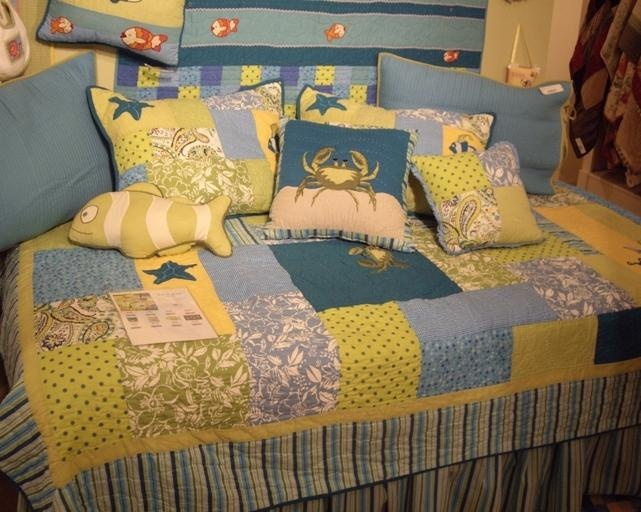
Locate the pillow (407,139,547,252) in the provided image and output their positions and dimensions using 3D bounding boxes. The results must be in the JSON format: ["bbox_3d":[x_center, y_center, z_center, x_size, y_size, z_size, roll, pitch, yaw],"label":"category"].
[{"bbox_3d":[0.573,-0.211,2.189,0.412,0.124,0.416,-10,76,-26],"label":"pillow"}]

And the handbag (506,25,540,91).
[{"bbox_3d":[0.997,-0.977,2.942,0.164,0.389,0.055,15,59,30],"label":"handbag"}]

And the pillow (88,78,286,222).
[{"bbox_3d":[-0.479,-0.405,2.193,0.571,0.173,0.523,-2,67,-22],"label":"pillow"}]
